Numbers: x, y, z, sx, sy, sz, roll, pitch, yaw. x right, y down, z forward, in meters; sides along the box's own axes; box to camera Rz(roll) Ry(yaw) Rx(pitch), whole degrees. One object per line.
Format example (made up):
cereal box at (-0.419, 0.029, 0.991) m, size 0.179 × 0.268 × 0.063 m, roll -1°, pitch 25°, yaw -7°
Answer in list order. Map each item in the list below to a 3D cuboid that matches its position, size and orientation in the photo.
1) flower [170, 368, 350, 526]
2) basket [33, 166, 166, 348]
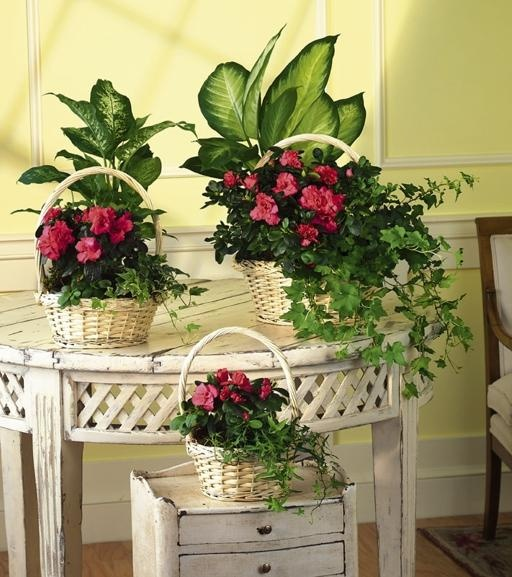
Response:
flower at (-0.002, 0.250, 1.065) m, size 0.278 × 0.158 × 0.216 m, roll -8°, pitch 10°, yaw 0°
basket at (-0.289, -0.066, 1.218) m, size 0.211 × 0.288 × 0.258 m, roll -3°, pitch -1°, yaw 2°
